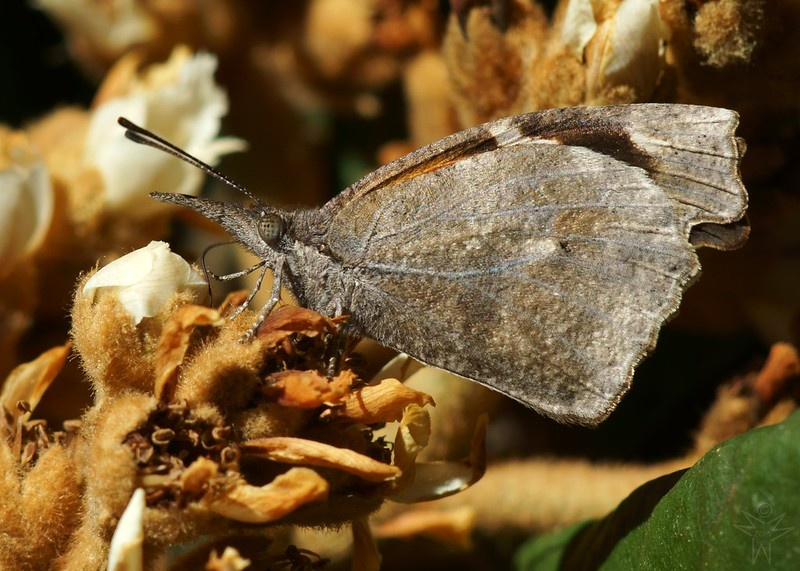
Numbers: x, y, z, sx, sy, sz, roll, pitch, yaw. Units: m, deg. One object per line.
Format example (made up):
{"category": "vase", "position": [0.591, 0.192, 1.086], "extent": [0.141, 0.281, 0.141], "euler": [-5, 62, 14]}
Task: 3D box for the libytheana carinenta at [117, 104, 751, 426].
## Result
{"category": "libytheana carinenta", "position": [-0.003, -0.087, 2.379], "extent": [1.438, 0.588, 0.817], "euler": [12, 63, -23]}
